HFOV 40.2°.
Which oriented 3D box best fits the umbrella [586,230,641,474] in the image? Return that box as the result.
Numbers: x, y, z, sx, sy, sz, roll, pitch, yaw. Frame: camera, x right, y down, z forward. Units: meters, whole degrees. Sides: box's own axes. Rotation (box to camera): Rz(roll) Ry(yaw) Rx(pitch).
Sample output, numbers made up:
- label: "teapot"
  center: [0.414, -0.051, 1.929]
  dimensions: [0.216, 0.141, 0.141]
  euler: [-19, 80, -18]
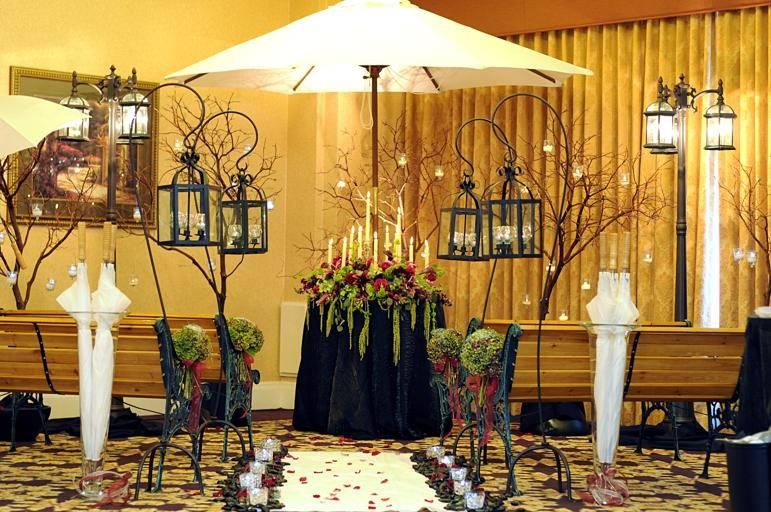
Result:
- label: "umbrella"
  center: [1.631, 0.679, 7.536]
  dimensions: [0.348, 1.695, 0.208]
  euler: [0, -1, -18]

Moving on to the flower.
- label: "flower"
  center: [-0.104, 0.419, 9.506]
  dimensions: [1.212, 0.903, 1.327]
  euler: [0, 4, -1]

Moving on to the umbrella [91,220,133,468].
- label: "umbrella"
  center: [-1.968, 0.606, 7.555]
  dimensions: [0.249, 1.683, 0.192]
  euler: [0, -1, -18]

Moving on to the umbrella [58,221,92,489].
- label: "umbrella"
  center: [-2.212, 0.672, 7.538]
  dimensions: [0.234, 1.801, 0.318]
  euler: [0, -1, -18]
